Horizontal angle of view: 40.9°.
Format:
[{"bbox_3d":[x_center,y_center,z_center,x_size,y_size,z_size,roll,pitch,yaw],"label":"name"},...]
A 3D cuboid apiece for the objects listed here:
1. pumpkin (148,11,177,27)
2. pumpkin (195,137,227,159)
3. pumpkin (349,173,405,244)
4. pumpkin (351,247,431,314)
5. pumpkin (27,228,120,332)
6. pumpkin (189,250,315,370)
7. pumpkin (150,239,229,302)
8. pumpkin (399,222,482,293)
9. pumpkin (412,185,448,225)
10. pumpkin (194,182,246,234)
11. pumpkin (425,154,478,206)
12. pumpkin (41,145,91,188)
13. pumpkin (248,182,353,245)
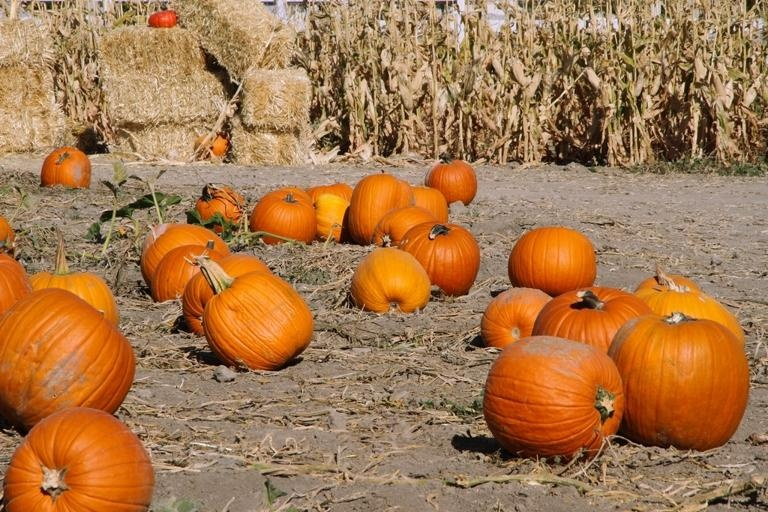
[{"bbox_3d":[-3.725,-3.950,17.166,0.368,0.245,0.356,-5,2,-13],"label":"pumpkin"},{"bbox_3d":[-2.737,-1.801,16.726,0.219,0.350,0.525,5,12,19],"label":"pumpkin"},{"bbox_3d":[-0.082,-0.441,9.903,0.535,0.610,0.527,21,-22,-38],"label":"pumpkin"},{"bbox_3d":[0.058,0.172,8.757,0.575,0.510,0.559,2,6,0],"label":"pumpkin"},{"bbox_3d":[-2.369,0.161,8.029,0.756,0.936,0.713,-8,1,-25],"label":"pumpkin"},{"bbox_3d":[-1.075,0.456,8.017,0.723,0.522,0.501,42,14,-4],"label":"pumpkin"},{"bbox_3d":[-1.679,0.158,8.828,0.546,0.515,0.536,-3,-11,10],"label":"pumpkin"},{"bbox_3d":[0.453,-0.001,9.076,0.654,0.575,0.644,11,1,21],"label":"pumpkin"},{"bbox_3d":[0.460,-0.533,10.469,0.397,0.351,0.382,2,4,4],"label":"pumpkin"},{"bbox_3d":[-1.592,-0.502,10.196,0.496,0.438,0.483,-10,7,-21],"label":"pumpkin"},{"bbox_3d":[0.771,-0.854,11.724,0.567,0.509,0.571,-4,-4,41],"label":"pumpkin"},{"bbox_3d":[-3.760,-1.034,12.063,0.558,0.458,0.624,-2,12,-19],"label":"pumpkin"},{"bbox_3d":[-0.830,-0.407,10.202,0.562,0.527,1.186,12,15,43],"label":"pumpkin"}]
